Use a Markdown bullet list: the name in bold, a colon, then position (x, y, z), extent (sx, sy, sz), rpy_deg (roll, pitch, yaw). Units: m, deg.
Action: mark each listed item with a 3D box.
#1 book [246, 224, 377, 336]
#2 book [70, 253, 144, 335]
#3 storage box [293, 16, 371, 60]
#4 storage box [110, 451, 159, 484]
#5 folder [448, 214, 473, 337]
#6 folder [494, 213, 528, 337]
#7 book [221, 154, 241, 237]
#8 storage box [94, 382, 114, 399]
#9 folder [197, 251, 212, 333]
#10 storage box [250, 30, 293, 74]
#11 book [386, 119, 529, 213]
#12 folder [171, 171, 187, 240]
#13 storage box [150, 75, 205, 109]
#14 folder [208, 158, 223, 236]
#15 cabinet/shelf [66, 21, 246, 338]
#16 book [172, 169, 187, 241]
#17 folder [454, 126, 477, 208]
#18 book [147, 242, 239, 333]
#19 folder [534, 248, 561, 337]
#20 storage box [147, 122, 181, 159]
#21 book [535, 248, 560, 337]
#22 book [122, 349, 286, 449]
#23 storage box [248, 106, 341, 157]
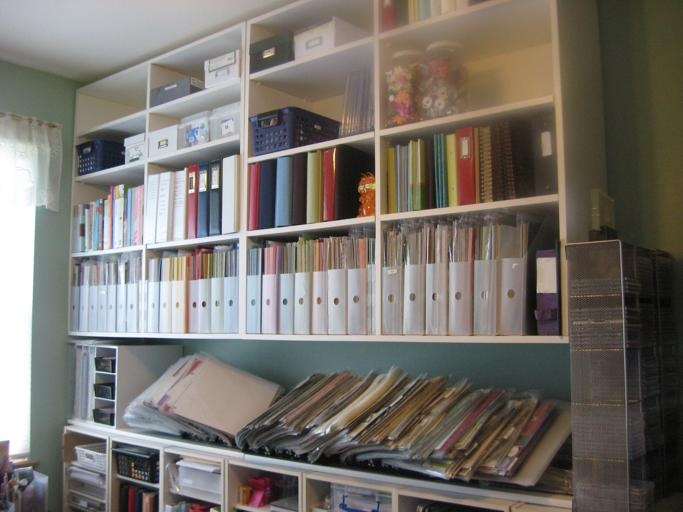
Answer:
- **book**: position (-0.125, 0.125, 2.884), extent (0.524, 0.368, 0.185), rpy_deg (-4, -6, 35)
- **book**: position (-1.477, 0.252, 3.744), extent (0.489, 0.441, 0.174), rpy_deg (-5, -7, 41)
- **storage box**: position (-0.085, -1.060, 2.980), extent (0.245, 0.114, 0.262), rpy_deg (-14, 4, 37)
- **storage box**: position (-1.137, 1.146, 3.245), extent (0.259, 0.139, 0.191), rpy_deg (-5, -12, 38)
- **folder**: position (0.501, 0.102, 2.493), extent (0.120, 0.452, 0.055), rpy_deg (-4, -3, 34)
- **folder**: position (0.700, 0.085, 2.386), extent (0.130, 0.459, 0.116), rpy_deg (-1, -3, -25)
- **book**: position (-0.602, -0.333, 3.194), extent (0.121, 0.421, 0.045), rpy_deg (-4, -3, 37)
- **storage box**: position (-1.463, 0.827, 3.636), extent (0.107, 0.048, 0.110), rpy_deg (5, -5, -16)
- **folder**: position (-0.757, 0.201, 3.278), extent (0.090, 0.432, 0.068), rpy_deg (-3, -2, 9)
- **storage box**: position (-0.371, -1.066, 3.094), extent (0.307, 0.159, 0.178), rpy_deg (-5, -3, 39)
- **book**: position (0.467, -0.372, 2.538), extent (0.441, 0.156, 0.340), rpy_deg (0, 0, 33)
- **folder**: position (-0.940, -0.289, 3.412), extent (0.051, 0.486, 0.360), rpy_deg (2, -4, -24)
- **storage box**: position (-1.014, -0.974, 3.504), extent (0.216, 0.058, 0.217), rpy_deg (-9, 5, 15)
- **folder**: position (-0.697, -0.321, 3.252), extent (0.092, 0.412, 0.025), rpy_deg (-4, -3, 30)
- **cabinet/shelf**: position (-1.086, -0.434, 3.527), extent (1.703, 1.606, 0.462), rpy_deg (-5, -6, 43)
- **book**: position (-0.938, -0.289, 3.411), extent (0.051, 0.500, 0.372), rpy_deg (2, -4, -22)
- **folder**: position (0.534, -0.383, 2.518), extent (0.092, 0.322, 0.031), rpy_deg (-3, -2, 17)
- **book**: position (-0.819, 0.188, 3.317), extent (0.490, 0.348, 0.176), rpy_deg (-4, -6, 37)
- **folder**: position (0.807, 0.144, 2.303), extent (0.110, 0.316, 0.320), rpy_deg (-2, -3, 23)
- **storage box**: position (-1.061, -0.690, 3.519), extent (0.282, 0.189, 0.165), rpy_deg (-3, -4, 40)
- **book**: position (0.807, 0.143, 2.302), extent (0.110, 0.315, 0.319), rpy_deg (-2, -4, 23)
- **book**: position (-0.740, 0.735, 3.074), extent (0.647, 0.199, 0.475), rpy_deg (15, 38, 21)
- **storage box**: position (-0.225, -0.627, 3.160), extent (0.397, 0.168, 0.264), rpy_deg (-1, -2, -45)
